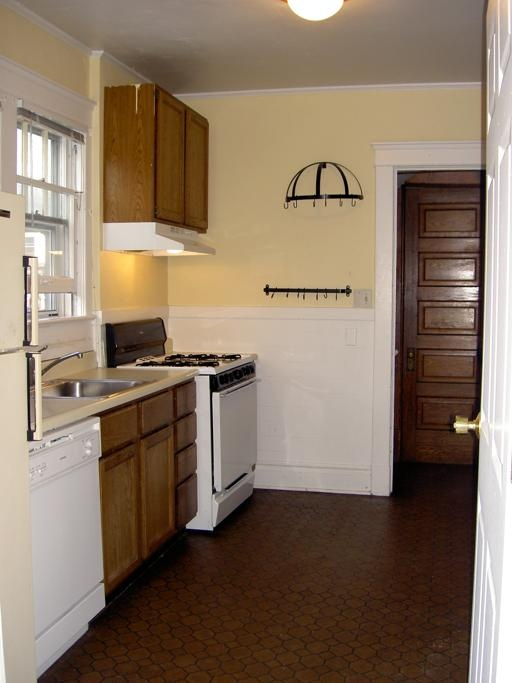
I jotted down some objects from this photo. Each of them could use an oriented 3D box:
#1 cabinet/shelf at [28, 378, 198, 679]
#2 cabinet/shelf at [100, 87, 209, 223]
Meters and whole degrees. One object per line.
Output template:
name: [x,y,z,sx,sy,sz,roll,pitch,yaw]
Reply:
cabinet/shelf: [-0.559,0.726,2.121,0.301,0.558,0.911,0,9,9]
cabinet/shelf: [-0.586,-1.102,3.524,0.307,0.798,0.891,4,9,15]
